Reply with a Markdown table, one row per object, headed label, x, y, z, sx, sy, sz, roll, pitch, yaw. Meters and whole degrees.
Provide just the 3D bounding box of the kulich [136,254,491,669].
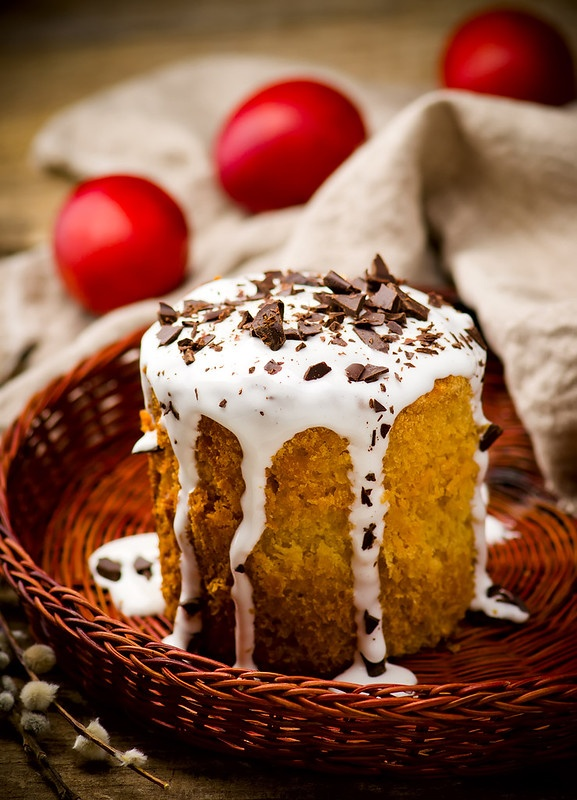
| label | x | y | z | sx | sy | sz | roll | pitch | yaw |
| --- | --- | --- | --- | --- | --- | --- | --- | --- | --- |
| kulich | 0.013 | 0.107 | 0.975 | 0.358 | 0.297 | 0.352 | -6 | 1 | 28 |
